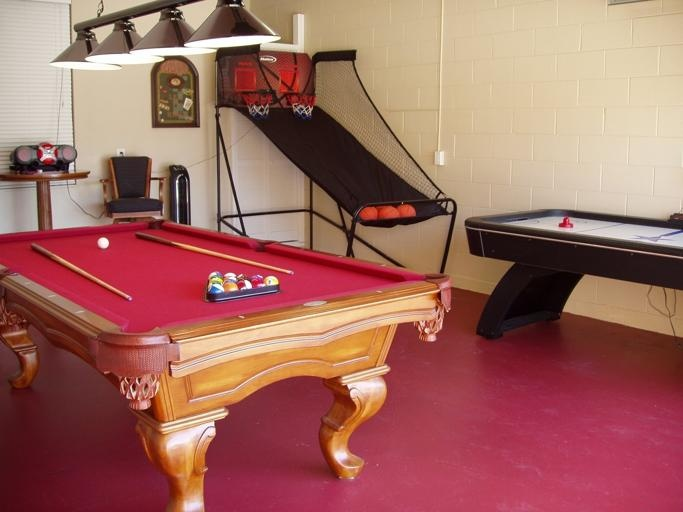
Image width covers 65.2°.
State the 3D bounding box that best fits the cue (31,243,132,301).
[{"bbox_3d":[-1.357,0.069,2.703,1.305,0.062,0.055,14,39,43],"label":"cue"}]

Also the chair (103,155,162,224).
[{"bbox_3d":[-2.477,-0.705,6.335,0.680,0.966,0.644,-7,13,-33],"label":"chair"}]
